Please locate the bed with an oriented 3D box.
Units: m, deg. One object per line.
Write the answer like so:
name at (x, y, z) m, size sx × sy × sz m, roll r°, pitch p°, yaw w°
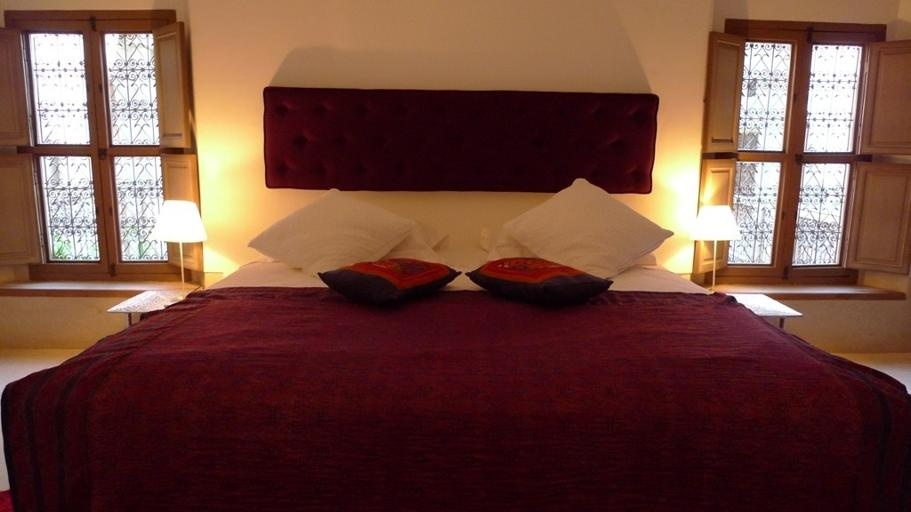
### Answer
bed at (0.158, -0.004, 3.927) m, size 4.793 × 2.524 × 2.674 m, roll 1°, pitch 8°, yaw 9°
